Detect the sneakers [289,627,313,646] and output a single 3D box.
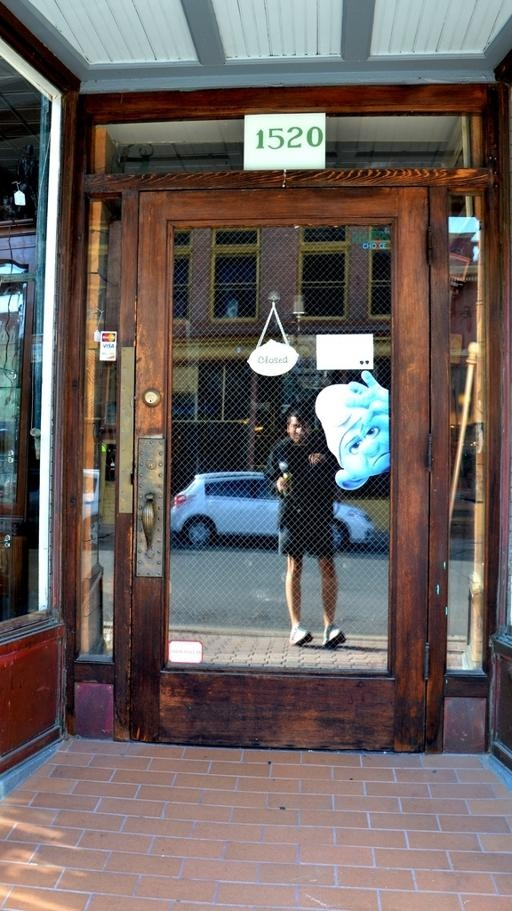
[{"bbox_3d":[0.182,0.756,2.896,0.045,0.064,0.128,11,-31,-26],"label":"sneakers"}]
